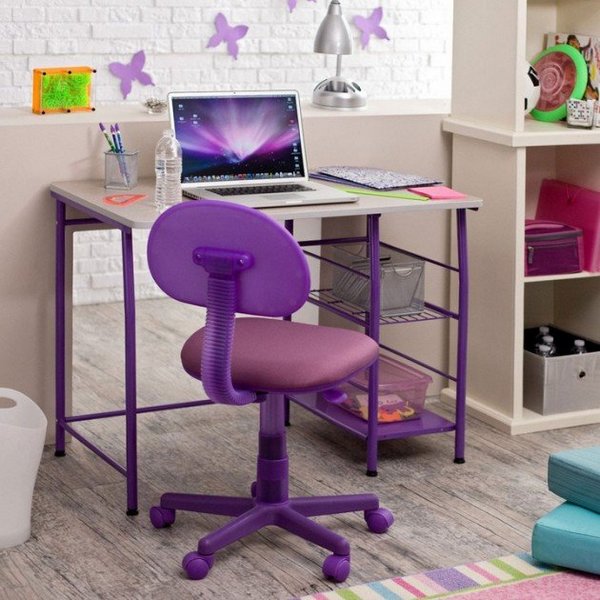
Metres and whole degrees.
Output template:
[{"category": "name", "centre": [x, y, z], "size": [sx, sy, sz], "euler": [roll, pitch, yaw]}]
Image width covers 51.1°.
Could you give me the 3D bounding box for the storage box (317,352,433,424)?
[{"category": "storage box", "centre": [0.263, 0.301, 2.055], "size": [0.323, 0.114, 0.386], "euler": [3, 3, 1]}]

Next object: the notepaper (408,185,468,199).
[{"category": "notepaper", "centre": [0.362, -0.282, 1.663], "size": [0.129, 0.043, 0.139], "euler": [-1, 6, -14]}]

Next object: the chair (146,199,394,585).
[{"category": "chair", "centre": [-0.059, 0.147, 1.175], "size": [0.487, 0.579, 0.498], "euler": [7, -4, -44]}]

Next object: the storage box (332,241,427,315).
[{"category": "storage box", "centre": [0.235, -0.064, 1.910], "size": [0.173, 0.123, 0.291], "euler": [-8, 14, -23]}]

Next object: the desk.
[{"category": "desk", "centre": [-0.130, 0.110, 1.805], "size": [1.183, 0.630, 0.558], "euler": [-1, -1, -15]}]

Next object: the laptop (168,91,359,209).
[{"category": "laptop", "centre": [-0.131, -0.435, 1.785], "size": [0.566, 0.307, 0.451], "euler": [-5, 12, -33]}]

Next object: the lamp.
[{"category": "lamp", "centre": [0.129, -0.865, 2.226], "size": [0.198, 0.385, 0.209], "euler": [2, 7, 14]}]
